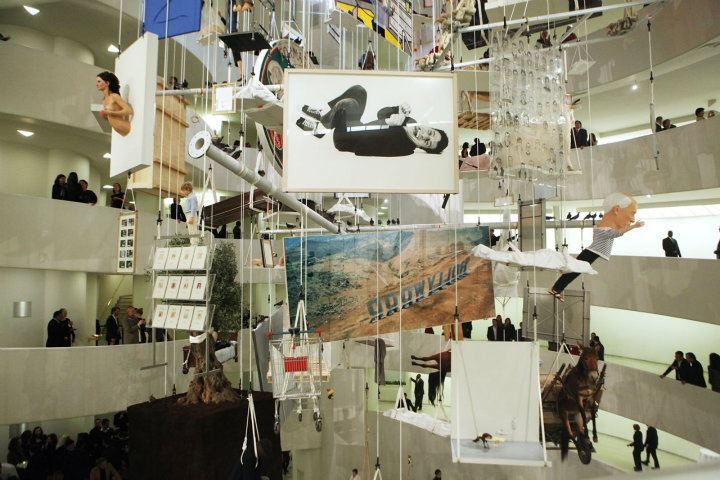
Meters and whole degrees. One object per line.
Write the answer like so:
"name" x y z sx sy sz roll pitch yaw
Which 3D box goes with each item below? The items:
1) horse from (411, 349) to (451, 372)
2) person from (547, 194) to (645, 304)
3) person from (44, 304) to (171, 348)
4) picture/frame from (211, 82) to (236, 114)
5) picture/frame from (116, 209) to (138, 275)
"horse" 2.345 3.860 19.520 0.446 0.726 1.694 3 -8 -31
"person" 5.624 0.254 14.371 1.451 2.865 1.189 19 17 20
"person" -6.824 2.305 16.314 2.802 1.002 1.416 2 -7 -31
"picture/frame" -2.688 -2.808 12.063 0.678 0.805 0.063 1 -2 13
"picture/frame" -5.350 0.083 13.956 0.635 1.406 0.046 -3 -7 32
